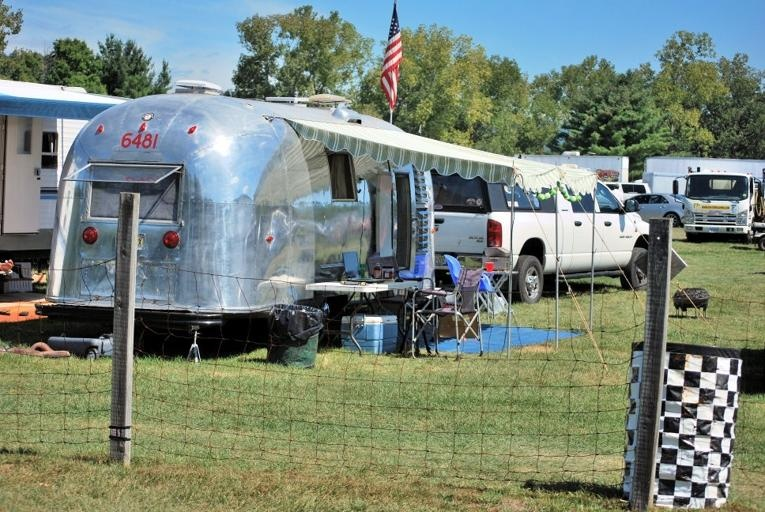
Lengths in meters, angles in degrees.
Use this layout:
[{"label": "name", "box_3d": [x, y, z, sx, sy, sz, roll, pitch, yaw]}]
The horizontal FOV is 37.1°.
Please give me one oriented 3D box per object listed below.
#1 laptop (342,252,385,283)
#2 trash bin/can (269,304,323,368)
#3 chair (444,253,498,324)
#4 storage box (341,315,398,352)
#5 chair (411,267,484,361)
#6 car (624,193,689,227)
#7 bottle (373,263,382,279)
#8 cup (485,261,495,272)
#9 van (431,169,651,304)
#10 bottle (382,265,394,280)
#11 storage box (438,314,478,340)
[{"label": "laptop", "box_3d": [-0.303, 0.203, 17.644, 0.485, 0.364, 0.482, -3, -3, 39]}, {"label": "trash bin/can", "box_3d": [-1.217, 1.109, 15.970, 0.776, 0.778, 0.779, 6, -1, -25]}, {"label": "chair", "box_3d": [1.543, 0.439, 18.227, 0.732, 0.858, 0.700, -4, 18, 31]}, {"label": "storage box", "box_3d": [-0.404, 1.163, 17.329, 0.856, 0.604, 0.867, 5, 0, -40]}, {"label": "chair", "box_3d": [1.039, 0.870, 17.501, 0.933, 1.340, 0.789, -1, 0, 33]}, {"label": "car", "box_3d": [7.778, -1.267, 31.770, 2.357, 1.078, 1.250, 4, 3, 9]}, {"label": "bottle", "box_3d": [-0.072, 0.248, 17.652, 0.172, 0.300, 0.174, 0, -7, 0]}, {"label": "cup", "box_3d": [1.783, 0.190, 18.514, 0.142, 0.108, 0.143, 1, -9, 0]}, {"label": "van", "box_3d": [3.115, -0.397, 21.234, 2.062, 1.870, 4.348, 2, 5, 43]}, {"label": "bottle", "box_3d": [0.104, 0.284, 17.720, 0.166, 0.163, 0.166, 1, 1, -28]}, {"label": "storage box", "box_3d": [1.207, 1.132, 17.848, 0.477, 0.316, 0.481, -2, -4, 40]}]
